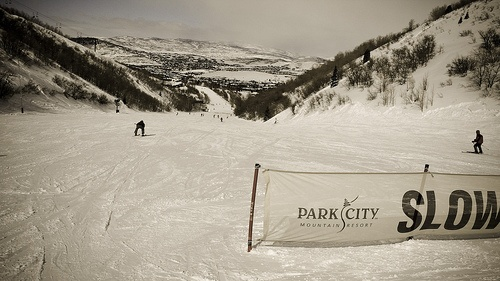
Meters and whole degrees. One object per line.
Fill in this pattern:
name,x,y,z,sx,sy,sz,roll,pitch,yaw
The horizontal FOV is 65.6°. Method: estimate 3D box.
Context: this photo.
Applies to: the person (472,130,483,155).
person,24.199,0.264,41.004,1.275,2.641,0.744,2,2,-40
